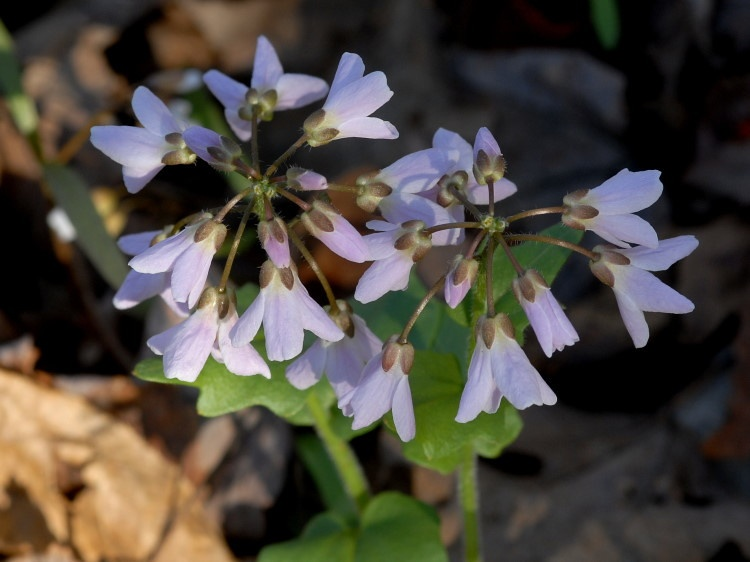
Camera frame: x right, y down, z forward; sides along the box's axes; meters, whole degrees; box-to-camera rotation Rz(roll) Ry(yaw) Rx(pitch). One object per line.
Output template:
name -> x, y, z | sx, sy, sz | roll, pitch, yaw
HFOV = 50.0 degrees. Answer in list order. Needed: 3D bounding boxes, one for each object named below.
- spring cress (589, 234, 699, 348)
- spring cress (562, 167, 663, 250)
spring cress -> 0.842, -0.003, 2.550 | 0.339, 0.354, 0.133 | 20, 13, 8
spring cress -> 0.756, -0.224, 2.572 | 0.299, 0.238, 0.160 | 7, 44, 18
